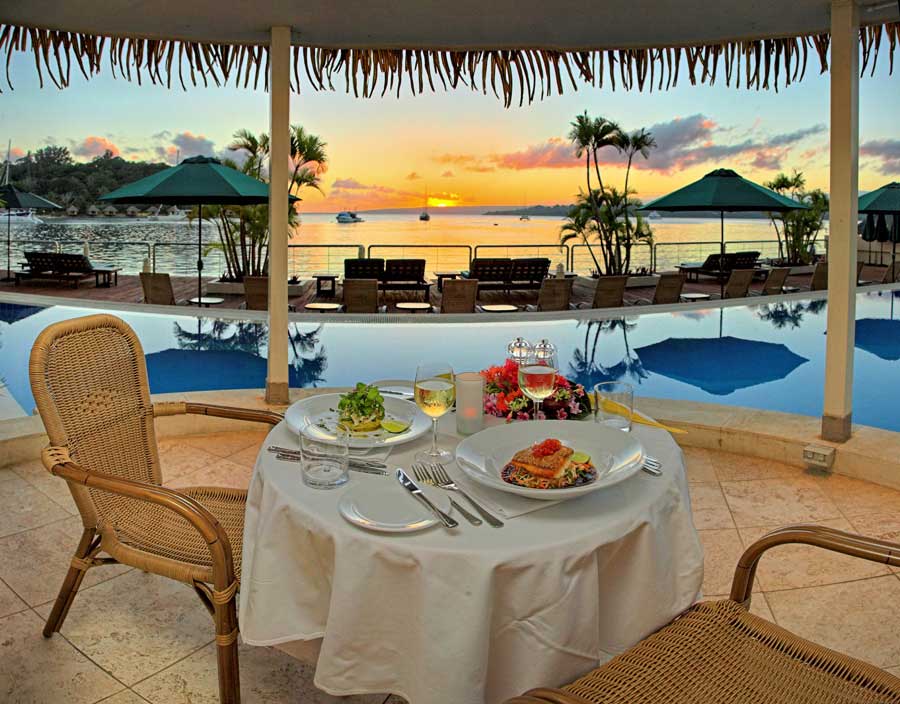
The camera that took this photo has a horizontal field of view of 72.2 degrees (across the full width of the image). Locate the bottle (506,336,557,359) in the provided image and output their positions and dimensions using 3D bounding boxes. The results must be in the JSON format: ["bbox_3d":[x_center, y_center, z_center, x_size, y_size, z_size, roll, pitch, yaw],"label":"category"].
[{"bbox_3d":[0.262,-0.018,2.000,0.139,0.060,0.081,0,3,20],"label":"bottle"}]

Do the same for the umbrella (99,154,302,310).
[{"bbox_3d":[-3.125,-1.807,8.091,2.283,1.565,2.363,-5,12,-25],"label":"umbrella"}]

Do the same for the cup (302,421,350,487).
[{"bbox_3d":[-0.304,0.276,1.646,0.141,0.149,0.137,1,4,0],"label":"cup"}]

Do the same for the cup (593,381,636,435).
[{"bbox_3d":[0.495,0.173,1.885,0.144,0.153,0.142,-1,3,0],"label":"cup"}]

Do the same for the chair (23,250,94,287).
[{"bbox_3d":[-7.762,-1.660,12.303,1.478,0.629,0.593,3,11,19],"label":"chair"}]

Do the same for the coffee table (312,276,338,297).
[{"bbox_3d":[-2.376,-1.261,11.917,0.477,0.425,0.460,-1,9,-3],"label":"coffee table"}]

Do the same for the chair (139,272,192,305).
[{"bbox_3d":[-4.559,-1.000,9.759,0.473,0.421,1.080,0,1,-8],"label":"chair"}]
